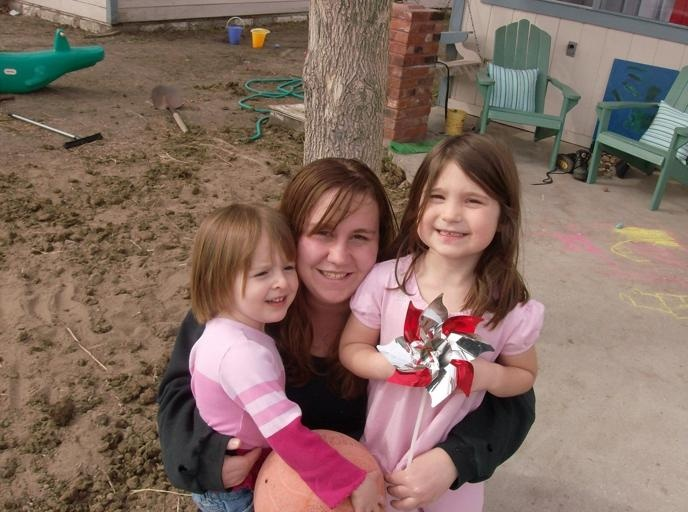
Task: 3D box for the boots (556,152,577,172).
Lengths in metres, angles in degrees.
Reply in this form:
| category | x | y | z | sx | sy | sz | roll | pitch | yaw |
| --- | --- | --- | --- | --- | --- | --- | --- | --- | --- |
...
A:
| category | x | y | z | sx | sy | sz | roll | pitch | yaw |
| --- | --- | --- | --- | --- | --- | --- | --- | --- | --- |
| boots | 3.060 | -1.309 | 7.043 | 0.106 | 0.203 | 0.318 | 13 | 45 | 33 |

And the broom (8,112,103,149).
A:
| category | x | y | z | sx | sy | sz | roll | pitch | yaw |
| --- | --- | --- | --- | --- | --- | --- | --- | --- | --- |
| broom | -4.057 | -1.753 | 7.069 | 1.529 | 0.102 | 0.515 | 21 | 39 | 26 |

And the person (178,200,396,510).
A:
| category | x | y | z | sx | sy | sz | roll | pitch | yaw |
| --- | --- | --- | --- | --- | --- | --- | --- | --- | --- |
| person | -0.349 | 0.287 | 2.289 | 1.076 | 1.370 | 1.042 | -2 | 10 | -9 |

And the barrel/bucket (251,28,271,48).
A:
| category | x | y | z | sx | sy | sz | roll | pitch | yaw |
| --- | --- | --- | --- | --- | --- | --- | --- | --- | --- |
| barrel/bucket | -2.033 | -5.244 | 12.317 | 0.337 | 0.441 | 0.890 | 1 | 23 | -7 |
